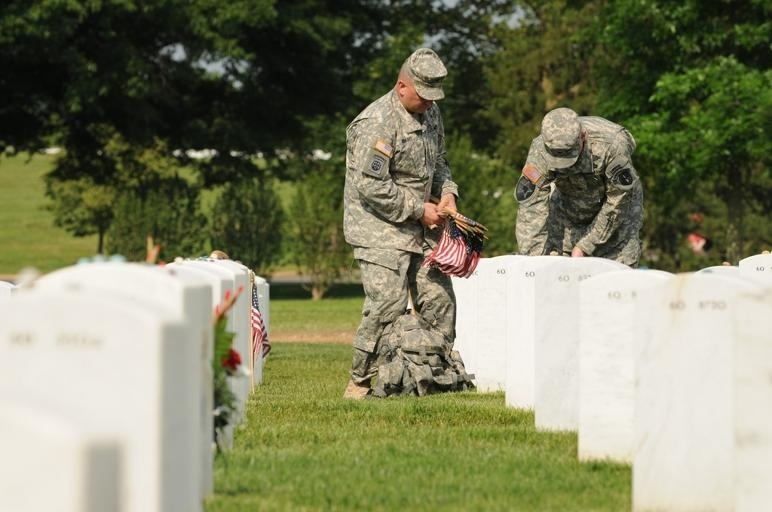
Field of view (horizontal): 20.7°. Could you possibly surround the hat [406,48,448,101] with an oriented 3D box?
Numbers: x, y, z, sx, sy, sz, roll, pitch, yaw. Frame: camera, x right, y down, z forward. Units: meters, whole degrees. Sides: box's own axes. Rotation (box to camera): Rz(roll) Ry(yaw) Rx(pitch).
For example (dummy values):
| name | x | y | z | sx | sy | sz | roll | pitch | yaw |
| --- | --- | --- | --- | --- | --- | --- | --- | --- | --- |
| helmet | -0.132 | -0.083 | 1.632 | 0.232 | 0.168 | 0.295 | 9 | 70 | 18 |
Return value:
| name | x | y | z | sx | sy | sz | roll | pitch | yaw |
| --- | --- | --- | --- | --- | --- | --- | --- | --- | --- |
| hat | 1.056 | -4.082 | 46.229 | 0.974 | 0.517 | 1.354 | -3 | 41 | -27 |
